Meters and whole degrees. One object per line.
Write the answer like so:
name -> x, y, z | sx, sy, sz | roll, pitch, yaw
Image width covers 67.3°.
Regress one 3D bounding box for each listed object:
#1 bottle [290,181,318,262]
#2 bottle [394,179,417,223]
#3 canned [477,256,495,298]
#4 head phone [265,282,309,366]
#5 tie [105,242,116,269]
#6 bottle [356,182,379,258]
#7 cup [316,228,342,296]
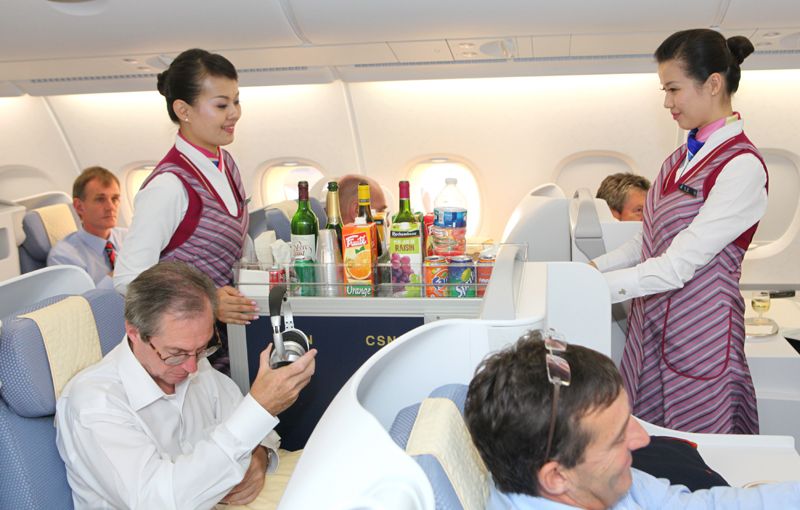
bottle -> -0.413, -0.150, 2.572 | 0.114, 0.332, 0.203 | -1, 4, -10
bottle -> 0.019, -0.219, 2.474 | 0.089, 0.172, 0.168 | 0, 4, 3
canned -> 0.336, 0.087, 2.365 | 0.070, 0.151, 0.108 | 0, 4, 9
head phone -> -0.423, 0.262, 2.273 | 0.129, 0.300, 0.241 | -14, 9, -1
tie -> -2.162, 0.009, 4.447 | 0.044, 0.191, 0.050 | -5, 9, 6
bottle -> -0.137, -0.143, 2.559 | 0.107, 0.321, 0.314 | -1, 4, -3
cup -> -0.293, 0.030, 2.472 | 0.105, 0.273, 0.114 | -1, 4, 0
